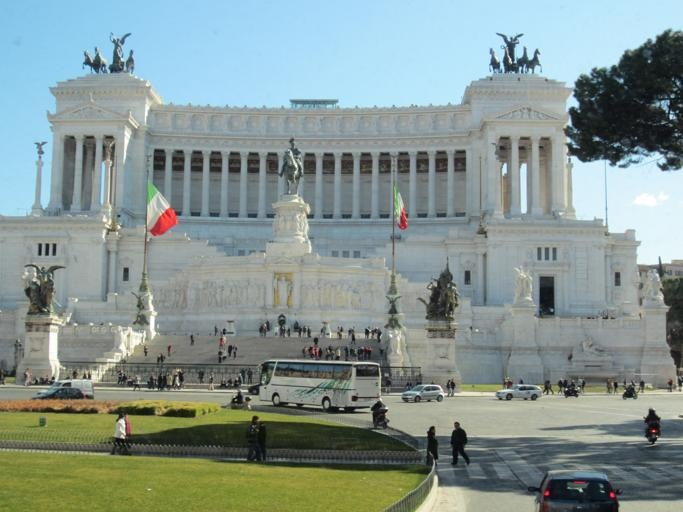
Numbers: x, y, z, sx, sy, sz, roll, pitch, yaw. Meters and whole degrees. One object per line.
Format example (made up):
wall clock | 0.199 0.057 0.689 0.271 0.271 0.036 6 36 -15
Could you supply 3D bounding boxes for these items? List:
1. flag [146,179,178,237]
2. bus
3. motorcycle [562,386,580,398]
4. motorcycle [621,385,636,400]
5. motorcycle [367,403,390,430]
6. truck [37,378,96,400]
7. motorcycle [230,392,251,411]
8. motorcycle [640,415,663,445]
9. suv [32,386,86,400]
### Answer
flag | -13.825 -3.662 111.940 2.099 4.007 1.811 0 -7 -12
bus | -1.378 7.425 87.092 2.492 2.816 8.361 1 -2 -44
motorcycle | 15.197 8.762 95.974 0.669 0.635 1.132 7 -1 -3
motorcycle | 18.829 8.672 95.040 0.696 0.688 1.238 0 1 20
motorcycle | 2.069 8.316 77.393 0.817 0.855 1.366 1 -4 -7
truck | -15.794 7.562 84.297 2.277 1.088 1.329 4 -5 -8
motorcycle | -5.707 8.027 83.320 0.769 0.797 1.475 1 5 1
motorcycle | 16.223 8.883 75.796 0.759 1.422 1.215 -2 -7 8
suv | -16.119 7.751 83.557 2.306 0.737 1.038 5 -5 -7
